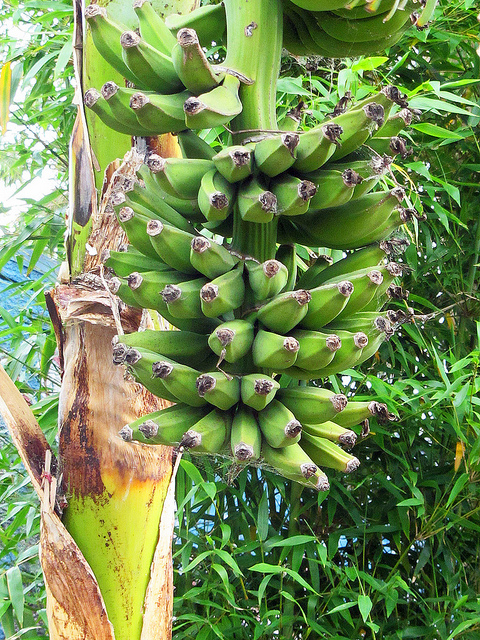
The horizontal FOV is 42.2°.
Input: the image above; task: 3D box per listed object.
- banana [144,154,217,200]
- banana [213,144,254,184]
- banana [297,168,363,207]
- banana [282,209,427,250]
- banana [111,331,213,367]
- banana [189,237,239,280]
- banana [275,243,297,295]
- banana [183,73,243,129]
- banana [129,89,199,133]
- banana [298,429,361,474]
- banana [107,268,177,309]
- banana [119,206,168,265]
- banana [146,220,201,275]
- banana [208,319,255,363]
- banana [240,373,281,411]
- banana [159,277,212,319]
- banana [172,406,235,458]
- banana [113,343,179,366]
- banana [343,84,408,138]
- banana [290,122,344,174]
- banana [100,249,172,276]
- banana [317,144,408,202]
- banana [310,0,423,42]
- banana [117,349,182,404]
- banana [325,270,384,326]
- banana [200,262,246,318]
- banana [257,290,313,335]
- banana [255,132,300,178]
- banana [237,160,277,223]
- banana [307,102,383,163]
[{"bbox_3d":[-0.079,-0.206,0.922,0.043,0.054,0.134,40,10,25],"label":"banana"},{"bbox_3d":[-0.008,-0.203,0.820,0.049,0.048,0.046,-8,24,-1],"label":"banana"},{"bbox_3d":[0.124,-0.181,0.843,0.035,0.046,0.112,33,-6,-25],"label":"banana"},{"bbox_3d":[0.164,-0.149,0.962,0.235,0.085,0.049,8,34,36],"label":"banana"},{"bbox_3d":[-0.107,0.044,0.953,0.176,0.052,0.060,2,50,-6],"label":"banana"},{"bbox_3d":[-0.042,-0.083,0.842,0.038,0.027,0.086,-24,-8,-2],"label":"banana"},{"bbox_3d":[0.081,-0.082,1.000,0.031,0.084,0.032,3,2,-24],"label":"banana"},{"bbox_3d":[-0.026,-0.290,0.819,0.055,0.042,0.099,9,34,23],"label":"banana"},{"bbox_3d":[-0.110,-0.294,0.859,0.069,0.025,0.062,6,58,0],"label":"banana"},{"bbox_3d":[0.122,0.183,0.910,0.127,0.044,0.041,17,3,44],"label":"banana"},{"bbox_3d":[-0.139,-0.038,0.955,0.037,0.048,0.122,13,-2,21],"label":"banana"},{"bbox_3d":[-0.125,-0.115,0.935,0.032,0.115,0.040,-46,39,-8],"label":"banana"},{"bbox_3d":[-0.094,-0.103,0.855,0.034,0.107,0.037,-38,52,13],"label":"banana"},{"bbox_3d":[-0.008,0.026,0.812,0.042,0.027,0.068,40,18,7],"label":"banana"},{"bbox_3d":[0.020,0.093,0.810,0.023,0.041,0.065,9,-7,-32],"label":"banana"},{"bbox_3d":[-0.075,-0.029,0.833,0.040,0.029,0.099,45,17,22],"label":"banana"},{"bbox_3d":[-0.054,0.156,0.843,0.044,0.047,0.102,-18,-9,-2],"label":"banana"},{"bbox_3d":[-0.133,0.052,0.872,0.084,0.020,0.035,5,-12,-19],"label":"banana"},{"bbox_3d":[0.183,-0.287,0.839,0.076,0.056,0.069,-6,24,3],"label":"banana"},{"bbox_3d":[0.097,-0.222,0.845,0.033,0.093,0.037,23,55,-24],"label":"banana"},{"bbox_3d":[-0.156,-0.087,0.950,0.099,0.039,0.026,11,66,8],"label":"banana"},{"bbox_3d":[0.180,-0.210,0.881,0.125,0.074,0.049,-4,38,19],"label":"banana"},{"bbox_3d":[0.182,-0.428,0.896,0.157,0.047,0.062,-1,24,13],"label":"banana"},{"bbox_3d":[-0.122,0.083,0.908,0.041,0.130,0.051,-42,41,14],"label":"banana"},{"bbox_3d":[0.172,-0.037,0.918,0.042,0.114,0.032,36,50,-6],"label":"banana"},{"bbox_3d":[-0.021,-0.033,0.824,0.033,0.036,0.093,6,20,11],"label":"banana"},{"bbox_3d":[0.055,-0.006,0.822,0.038,0.034,0.100,-43,1,-16],"label":"banana"},{"bbox_3d":[0.048,-0.217,0.824,0.034,0.063,0.074,-23,28,-29],"label":"banana"},{"bbox_3d":[0.016,-0.164,0.824,0.035,0.042,0.107,9,24,-16],"label":"banana"},{"bbox_3d":[0.145,-0.260,0.892,0.054,0.040,0.143,0,-19,-22],"label":"banana"}]
